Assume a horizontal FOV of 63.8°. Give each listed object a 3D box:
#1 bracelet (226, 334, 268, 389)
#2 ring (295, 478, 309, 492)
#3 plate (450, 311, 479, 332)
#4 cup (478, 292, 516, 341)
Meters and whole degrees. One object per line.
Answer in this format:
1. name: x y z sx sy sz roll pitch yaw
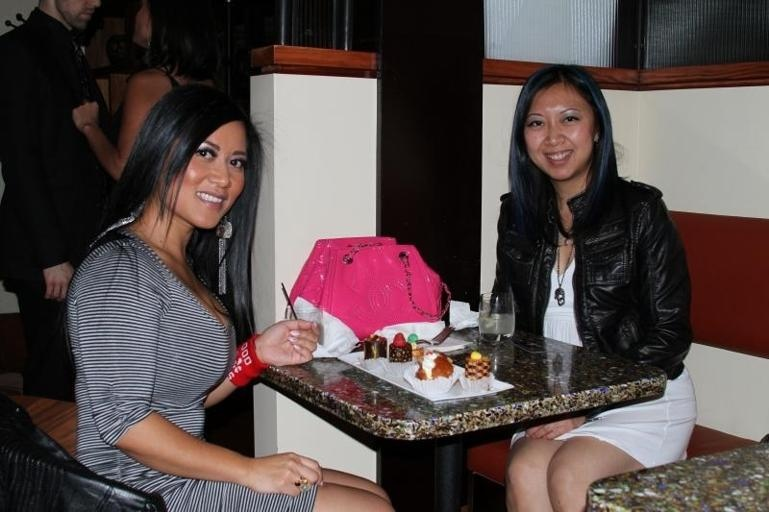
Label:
1. bracelet: -0.482 0.378 2.235 0.122 0.184 0.110 5 9 6
2. ring: -0.241 0.680 1.824 0.036 0.041 0.010 2 6 -26
3. plate: 0.325 0.269 2.555 0.088 0.036 0.073 -3 6 -27
4. cup: 0.429 0.240 2.401 0.143 0.188 0.162 1 1 12
